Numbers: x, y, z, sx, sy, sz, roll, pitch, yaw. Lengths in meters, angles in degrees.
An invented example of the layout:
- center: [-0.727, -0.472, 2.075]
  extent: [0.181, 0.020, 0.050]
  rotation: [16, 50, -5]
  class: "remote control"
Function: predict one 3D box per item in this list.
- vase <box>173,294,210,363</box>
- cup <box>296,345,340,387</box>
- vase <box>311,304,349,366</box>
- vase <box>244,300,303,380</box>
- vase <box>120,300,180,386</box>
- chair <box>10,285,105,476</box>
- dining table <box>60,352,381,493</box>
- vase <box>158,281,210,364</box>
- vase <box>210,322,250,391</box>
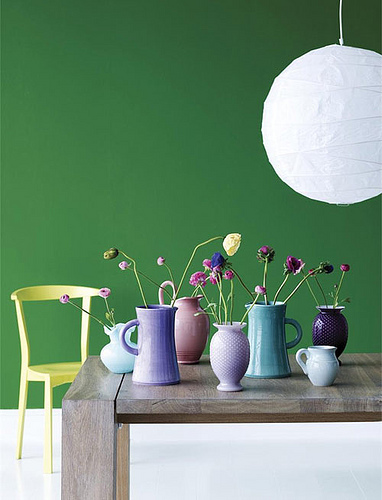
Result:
- center: [-0.017, 0.263, 1.857]
  extent: [0.168, 0.227, 0.157]
  rotation: [2, 4, 6]
  class: "vase"
- center: [0.349, 0.320, 1.484]
  extent: [0.122, 0.112, 0.089]
  rotation: [-1, -1, 5]
  class: "cup"
- center: [0.466, 0.289, 1.804]
  extent: [0.124, 0.199, 0.118]
  rotation: [-4, 6, -32]
  class: "vase"
- center: [0.252, 0.278, 1.642]
  extent: [0.195, 0.216, 0.154]
  rotation: [-3, -1, -8]
  class: "vase"
- center: [-0.128, 0.272, 1.507]
  extent: [0.199, 0.202, 0.124]
  rotation: [2, -7, -23]
  class: "vase"
- center: [-0.631, 0.659, 2.789]
  extent: [0.611, 0.913, 0.565]
  rotation: [-1, 0, -10]
  class: "chair"
- center: [0.114, 0.461, 1.523]
  extent: [0.938, 0.264, 0.569]
  rotation: [0, -1, -13]
  class: "dining table"
- center: [-0.013, 0.237, 1.854]
  extent: [0.177, 0.269, 0.152]
  rotation: [0, 3, -5]
  class: "vase"
- center: [0.109, 0.289, 1.443]
  extent: [0.111, 0.175, 0.112]
  rotation: [-5, -5, 35]
  class: "vase"
